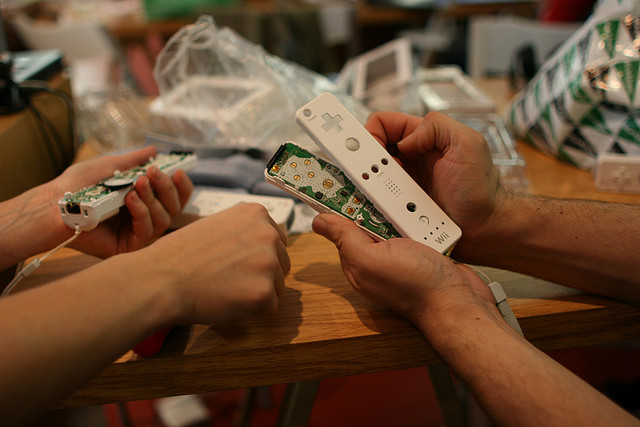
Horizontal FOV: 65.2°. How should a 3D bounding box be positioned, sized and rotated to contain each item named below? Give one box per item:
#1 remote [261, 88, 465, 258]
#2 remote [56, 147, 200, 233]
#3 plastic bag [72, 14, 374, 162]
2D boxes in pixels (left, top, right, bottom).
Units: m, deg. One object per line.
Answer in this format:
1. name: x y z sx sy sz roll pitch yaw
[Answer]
1. remote: 0.063 -0.042 1.015 0.406 0.109 0.226 35 78 -1
2. remote: -0.354 -0.047 0.999 0.107 0.079 0.297 24 36 28
3. plastic bag: -0.266 -0.269 1.227 0.529 0.184 0.401 19 49 23
